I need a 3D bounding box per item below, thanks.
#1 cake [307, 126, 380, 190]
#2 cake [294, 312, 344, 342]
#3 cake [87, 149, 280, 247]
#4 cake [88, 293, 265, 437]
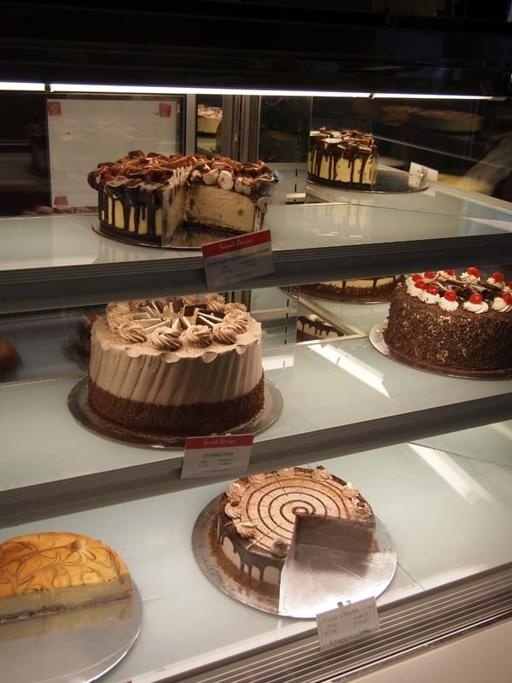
[{"bbox_3d":[0.244,-0.509,1.503,0.154,0.075,0.235,-1,23,-6],"label":"cake"},{"bbox_3d":[0.224,-0.051,2.073,0.129,0.047,0.129,-1,-17,18],"label":"cake"},{"bbox_3d":[-0.163,-0.329,1.204,0.372,0.179,0.453,9,19,20],"label":"cake"},{"bbox_3d":[-0.166,0.041,1.333,0.395,0.214,0.376,-10,24,-24],"label":"cake"}]
